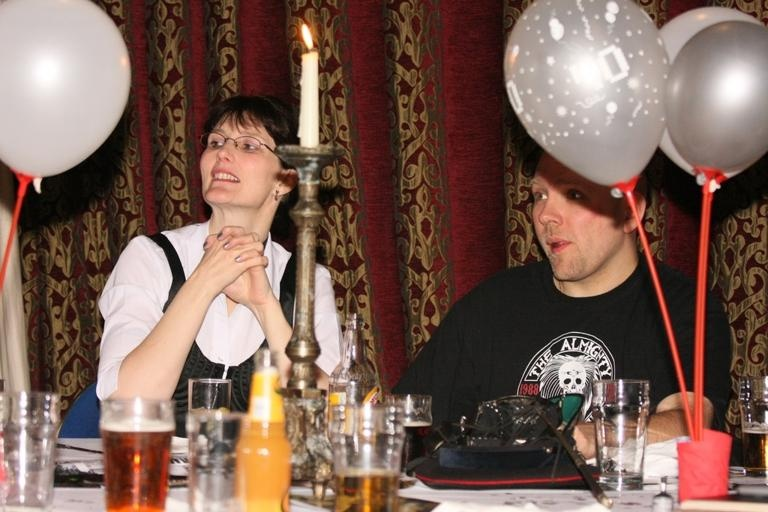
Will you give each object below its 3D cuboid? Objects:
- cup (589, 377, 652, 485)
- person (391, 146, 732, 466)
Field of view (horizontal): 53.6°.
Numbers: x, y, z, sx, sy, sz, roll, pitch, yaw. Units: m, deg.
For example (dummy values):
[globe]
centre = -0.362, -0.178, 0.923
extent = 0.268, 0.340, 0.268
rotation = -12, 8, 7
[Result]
[cup]
centre = 0.538, 0.409, 1.740
extent = 0.125, 0.240, 0.116
rotation = 2, -11, 0
[person]
centre = 0.638, 0.200, 2.681
extent = 0.670, 1.181, 1.170
rotation = 0, -3, -39
